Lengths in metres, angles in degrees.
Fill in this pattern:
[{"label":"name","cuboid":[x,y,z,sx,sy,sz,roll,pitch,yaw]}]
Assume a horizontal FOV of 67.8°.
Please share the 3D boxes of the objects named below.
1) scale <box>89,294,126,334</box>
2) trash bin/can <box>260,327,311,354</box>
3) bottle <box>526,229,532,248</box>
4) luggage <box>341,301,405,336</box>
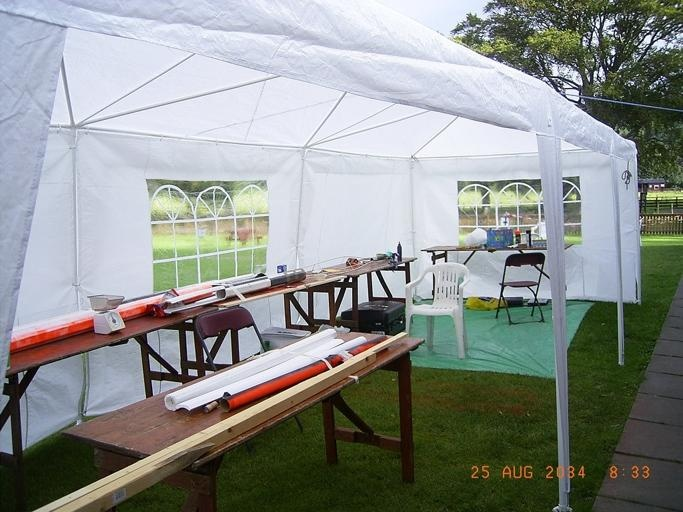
[{"label":"scale","cuboid":[-1.800,0.446,3.906,0.226,0.282,0.215,-1,0,6]},{"label":"trash bin/can","cuboid":[-0.558,0.888,4.949,0.426,0.152,0.359,-2,3,15]},{"label":"bottle","cuboid":[3.163,-0.295,8.608,0.097,0.236,0.385,0,8,20]},{"label":"luggage","cuboid":[0.479,0.831,6.986,0.502,0.309,0.634,0,5,22]}]
